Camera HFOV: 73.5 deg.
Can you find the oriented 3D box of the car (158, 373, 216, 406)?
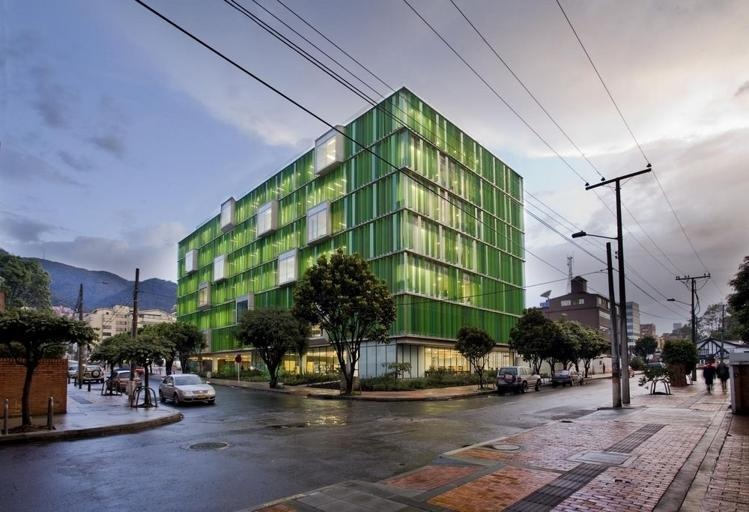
[{"bbox_3d":[-11.426,7.948,30.350,3.677,1.928,1.872,-17,-21,41],"label":"car"}]
